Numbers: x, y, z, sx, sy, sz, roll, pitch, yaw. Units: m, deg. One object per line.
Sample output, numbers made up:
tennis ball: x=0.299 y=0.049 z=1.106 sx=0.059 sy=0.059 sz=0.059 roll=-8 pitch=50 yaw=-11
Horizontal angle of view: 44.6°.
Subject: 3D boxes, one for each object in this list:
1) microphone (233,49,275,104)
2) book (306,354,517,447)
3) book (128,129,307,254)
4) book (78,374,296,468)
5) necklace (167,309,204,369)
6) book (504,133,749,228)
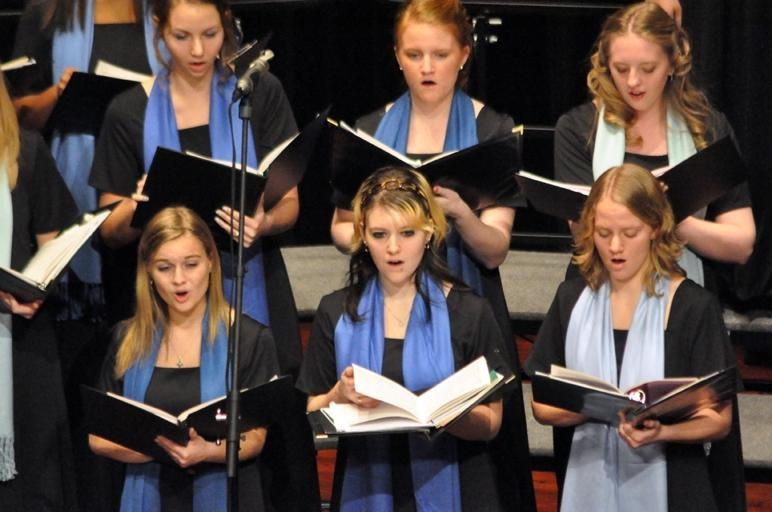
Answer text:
microphone: x=-0.442 y=-0.620 z=3.178 sx=0.119 sy=0.167 sz=0.272 roll=0 pitch=10 yaw=3
book: x=0.067 y=0.482 z=3.188 sx=0.670 sy=0.235 sz=0.201 roll=-1 pitch=11 yaw=-1
book: x=-0.629 y=-0.277 z=3.596 sx=0.476 sy=0.541 sz=0.206 roll=16 pitch=49 yaw=-8
book: x=-0.688 y=0.594 z=3.294 sx=0.694 sy=0.346 sz=0.239 roll=2 pitch=12 yaw=14
necklace: x=-0.773 y=0.318 z=3.606 sx=0.140 sy=0.226 sz=0.056 roll=3 pitch=-8 yaw=-1
book: x=0.935 y=-0.286 z=3.499 sx=0.718 sy=0.373 sz=0.148 roll=2 pitch=52 yaw=12
